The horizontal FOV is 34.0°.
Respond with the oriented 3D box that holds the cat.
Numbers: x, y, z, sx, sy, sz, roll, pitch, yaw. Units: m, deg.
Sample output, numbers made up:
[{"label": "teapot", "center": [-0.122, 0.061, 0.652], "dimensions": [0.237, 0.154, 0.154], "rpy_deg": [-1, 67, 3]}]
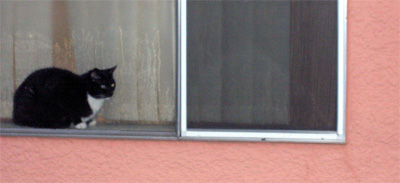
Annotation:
[{"label": "cat", "center": [-2.011, 0.086, 9.725], "dimensions": [1.752, 0.863, 0.808], "rpy_deg": [1, 8, 21]}]
